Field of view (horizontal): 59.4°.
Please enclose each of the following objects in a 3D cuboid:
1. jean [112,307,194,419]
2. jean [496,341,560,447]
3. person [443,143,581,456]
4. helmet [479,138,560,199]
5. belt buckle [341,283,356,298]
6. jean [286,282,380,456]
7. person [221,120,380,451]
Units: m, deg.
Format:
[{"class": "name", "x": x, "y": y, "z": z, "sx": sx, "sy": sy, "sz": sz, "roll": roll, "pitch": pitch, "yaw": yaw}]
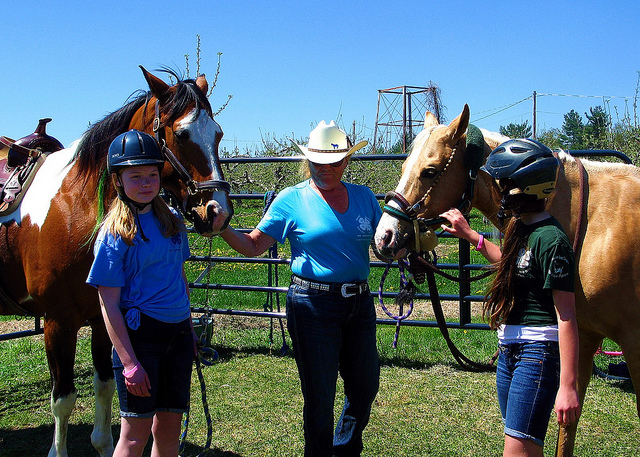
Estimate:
[{"class": "jean", "x": -1.088, "y": 0.876, "z": 3.745, "sx": 0.495, "sy": 0.788, "sz": 0.393, "roll": 6, "pitch": -12, "yaw": -38}, {"class": "jean", "x": 1.244, "y": 0.980, "z": 3.394, "sx": 0.360, "sy": 0.611, "sz": 0.271, "roll": 2, "pitch": 7, "yaw": 23}, {"class": "person", "x": 1.279, "y": 0.409, "z": 3.432, "sx": 0.465, "sy": 1.846, "sz": 0.514, "roll": 0, "pitch": 6, "yaw": 3}, {"class": "helmet", "x": 1.266, "y": -0.401, "z": 3.592, "sx": 0.471, "sy": 0.396, "sz": 0.385, "roll": 5, "pitch": 14, "yaw": 21}, {"class": "belt buckle", "x": 0.184, "y": 0.427, "z": 3.867, "sx": 0.096, "sy": 0.099, "sz": 0.019, "roll": -4, "pitch": 7, "yaw": -24}, {"class": "jean", "x": 0.091, "y": 1.016, "z": 3.928, "sx": 0.636, "sy": 1.273, "sz": 0.288, "roll": -1, "pitch": 6, "yaw": -5}, {"class": "person", "x": -0.026, "y": 0.423, "z": 3.956, "sx": 0.852, "sy": 2.313, "sz": 0.476, "roll": -1, "pitch": 6, "yaw": -2}]
